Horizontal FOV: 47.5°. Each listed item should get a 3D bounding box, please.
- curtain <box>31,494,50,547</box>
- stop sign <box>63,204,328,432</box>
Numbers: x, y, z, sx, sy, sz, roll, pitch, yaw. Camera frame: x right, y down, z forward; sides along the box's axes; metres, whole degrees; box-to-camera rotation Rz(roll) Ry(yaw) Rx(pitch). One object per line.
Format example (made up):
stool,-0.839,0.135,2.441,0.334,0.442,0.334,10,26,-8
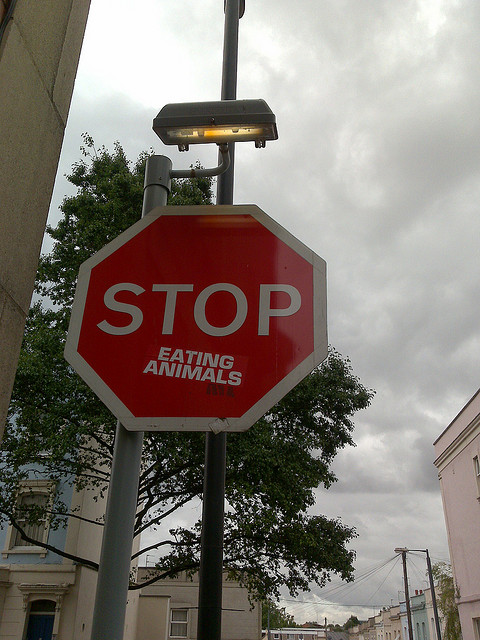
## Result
curtain,-7.759,7.925,21.192,0.489,2.204,0.099,1,-58,-10
stop sign,-0.122,-0.025,1.682,0.770,0.841,0.030,0,-34,2
